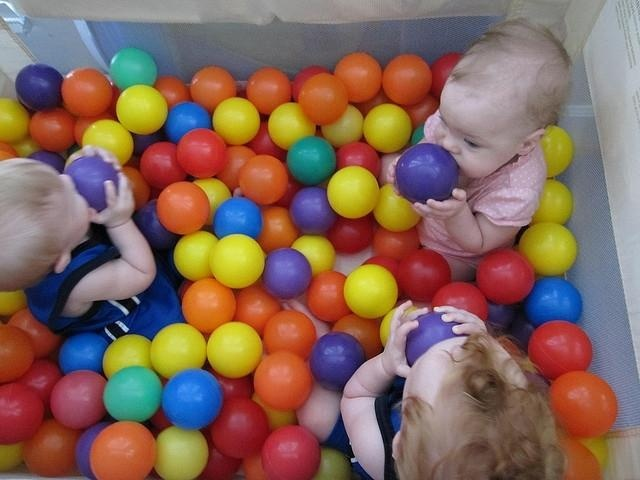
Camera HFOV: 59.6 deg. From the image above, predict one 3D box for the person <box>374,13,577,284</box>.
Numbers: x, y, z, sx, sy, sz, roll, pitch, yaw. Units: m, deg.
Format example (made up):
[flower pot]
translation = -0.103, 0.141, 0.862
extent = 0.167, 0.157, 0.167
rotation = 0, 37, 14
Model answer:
[person]
translation = 0.616, -0.282, 2.065
extent = 0.502, 0.833, 0.609
rotation = 15, 65, 7
